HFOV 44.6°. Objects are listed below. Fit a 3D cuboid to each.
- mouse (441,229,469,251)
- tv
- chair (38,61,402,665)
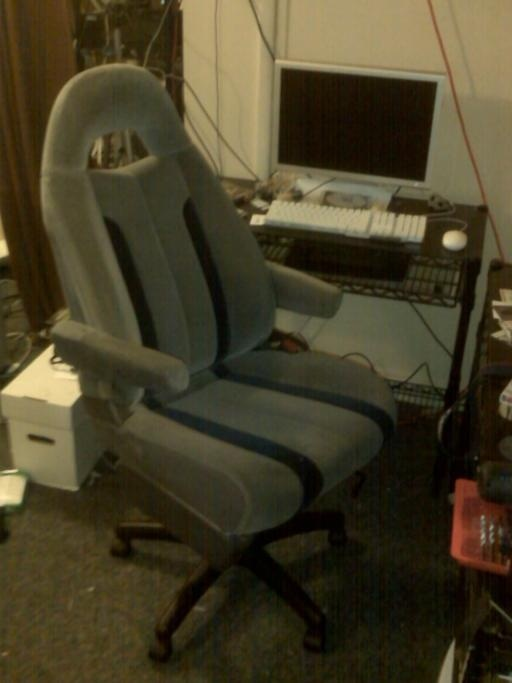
[{"bbox_3d":[0.486,-0.250,1.544,0.062,0.035,0.070,19,34,32],"label":"mouse"},{"bbox_3d":[0.279,-0.565,1.678,0.380,0.313,0.140,11,47,12],"label":"tv"},{"bbox_3d":[-0.047,0.060,1.190,0.581,1.060,0.517,15,29,27],"label":"chair"}]
